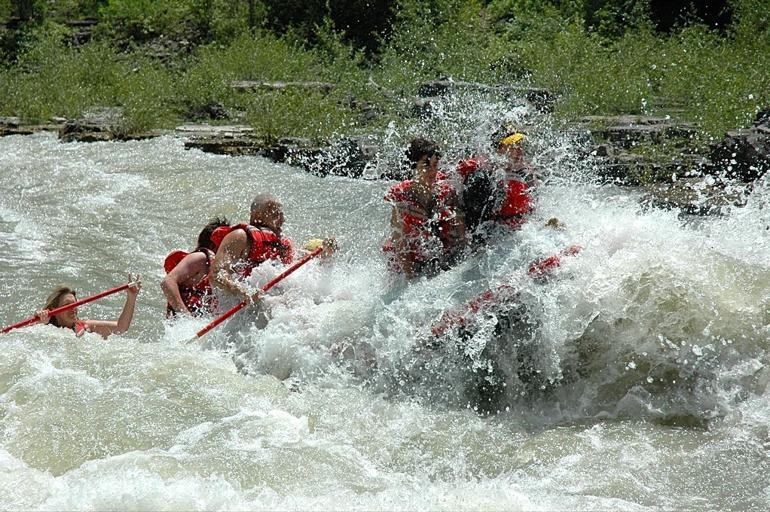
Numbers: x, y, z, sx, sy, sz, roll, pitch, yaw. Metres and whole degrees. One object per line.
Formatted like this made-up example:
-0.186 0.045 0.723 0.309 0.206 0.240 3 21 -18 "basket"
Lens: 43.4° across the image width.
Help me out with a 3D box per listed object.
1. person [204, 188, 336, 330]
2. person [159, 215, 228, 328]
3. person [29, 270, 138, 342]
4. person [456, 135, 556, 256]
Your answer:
-1.729 0.069 12.969 1.633 1.694 1.042 -2 29 -26 "person"
-2.648 0.261 13.406 0.681 1.652 0.753 9 43 -17 "person"
-4.029 0.668 12.948 1.195 0.578 0.904 -2 10 38 "person"
1.571 -0.748 12.776 1.437 1.801 0.765 -17 12 -36 "person"
